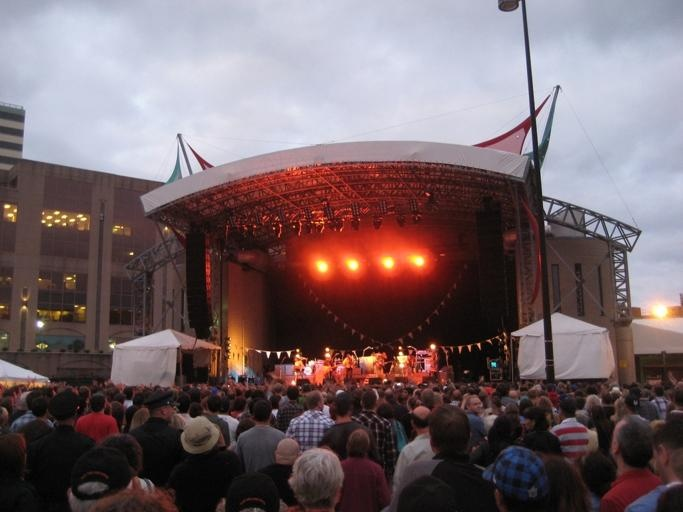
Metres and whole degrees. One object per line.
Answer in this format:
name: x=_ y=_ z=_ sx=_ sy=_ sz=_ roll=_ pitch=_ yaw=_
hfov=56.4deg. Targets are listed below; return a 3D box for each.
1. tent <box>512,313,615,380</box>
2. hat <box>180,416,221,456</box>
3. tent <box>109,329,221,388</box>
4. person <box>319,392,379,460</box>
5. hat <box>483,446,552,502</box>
tent: x=7.686 y=3.204 z=22.548 sx=3.150 sy=2.359 sz=3.306 roll=-7 pitch=-15 yaw=23
hat: x=-1.470 y=1.836 z=6.605 sx=0.401 sy=0.169 sz=0.479 roll=6 pitch=18 yaw=-2
tent: x=-6.683 y=3.947 z=22.786 sx=2.278 sy=1.673 sz=2.397 roll=-4 pitch=-5 yaw=16
person: x=0.001 y=2.048 z=7.360 sx=0.593 sy=0.969 sz=0.460 roll=3 pitch=15 yaw=4
hat: x=1.232 y=1.516 z=4.603 sx=0.498 sy=0.279 sz=0.392 roll=0 pitch=-38 yaw=8
